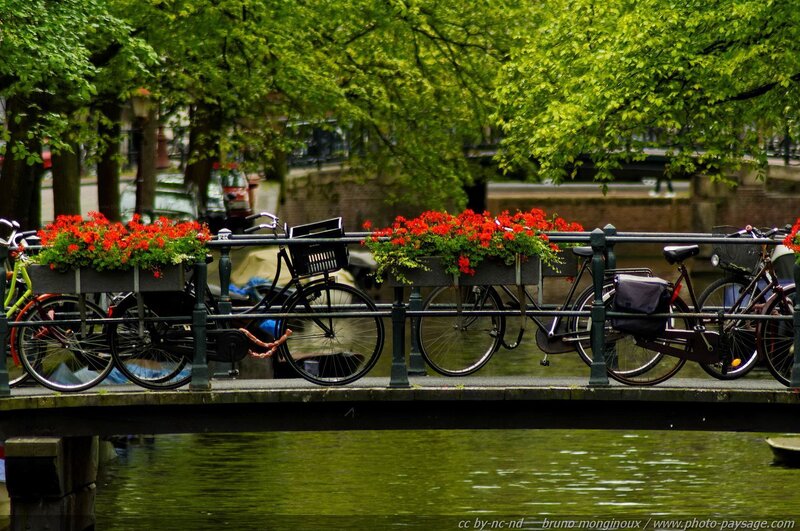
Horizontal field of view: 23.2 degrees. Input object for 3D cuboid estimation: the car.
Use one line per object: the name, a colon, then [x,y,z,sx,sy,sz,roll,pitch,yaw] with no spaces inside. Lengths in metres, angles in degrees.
car: [-4.469,-1.397,41.871,3.119,1.084,1.563,-12,5,27]

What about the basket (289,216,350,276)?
basket: [-1.100,-0.331,27.034,0.937,0.813,0.483,-6,45,5]

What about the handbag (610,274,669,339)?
handbag: [3.164,0.482,26.696,0.854,0.766,0.560,10,15,-12]

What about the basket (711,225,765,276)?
basket: [4.888,-0.270,27.558,0.951,0.708,0.756,6,11,19]
